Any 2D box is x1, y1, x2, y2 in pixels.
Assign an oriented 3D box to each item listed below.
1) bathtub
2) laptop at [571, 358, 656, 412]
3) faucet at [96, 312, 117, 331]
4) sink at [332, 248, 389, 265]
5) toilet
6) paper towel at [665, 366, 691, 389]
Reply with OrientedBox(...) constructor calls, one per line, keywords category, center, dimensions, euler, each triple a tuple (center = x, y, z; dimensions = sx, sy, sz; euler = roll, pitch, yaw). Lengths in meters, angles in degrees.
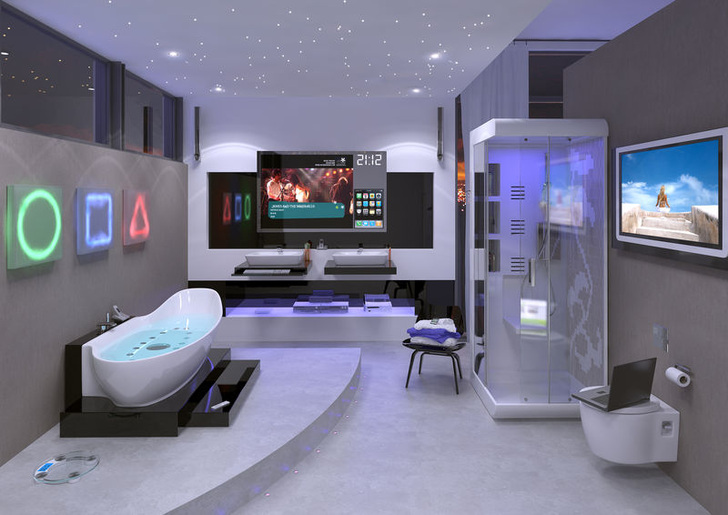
OrientedBox(category="bathtub", center=(-1.906, 0.795, 4.614), dimensions=(0.528, 0.394, 1.446), euler=(2, 11, -1))
OrientedBox(category="laptop", center=(1.995, 0.982, 3.928), dimensions=(0.507, 0.466, 0.380), euler=(-3, 0, -20))
OrientedBox(category="faucet", center=(-2.502, 0.625, 4.704), dimensions=(0.148, 0.212, 0.214), euler=(1, -1, -13))
OrientedBox(category="sink", center=(-0.069, 0.011, 6.773), dimensions=(0.825, 0.205, 0.497), euler=(2, 10, 1))
OrientedBox(category="toilet", center=(2.125, 1.342, 3.999), dimensions=(0.684, 0.461, 0.620), euler=(1, 10, 15))
OrientedBox(category="paper towel", center=(2.359, 0.888, 3.685), dimensions=(0.124, 0.154, 0.170), euler=(-10, -1, -4))
